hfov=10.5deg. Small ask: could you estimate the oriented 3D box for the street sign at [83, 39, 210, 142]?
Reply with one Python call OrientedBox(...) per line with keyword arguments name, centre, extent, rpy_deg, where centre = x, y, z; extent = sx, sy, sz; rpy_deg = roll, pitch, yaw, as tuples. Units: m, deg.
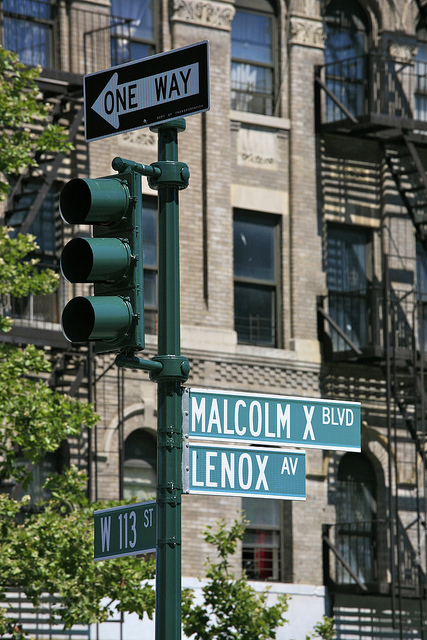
OrientedBox(name="street sign", centre=(-0.626, -2.142, 21.206), extent=(1.239, 0.759, 0.215), rpy_deg=(-6, -12, 20))
